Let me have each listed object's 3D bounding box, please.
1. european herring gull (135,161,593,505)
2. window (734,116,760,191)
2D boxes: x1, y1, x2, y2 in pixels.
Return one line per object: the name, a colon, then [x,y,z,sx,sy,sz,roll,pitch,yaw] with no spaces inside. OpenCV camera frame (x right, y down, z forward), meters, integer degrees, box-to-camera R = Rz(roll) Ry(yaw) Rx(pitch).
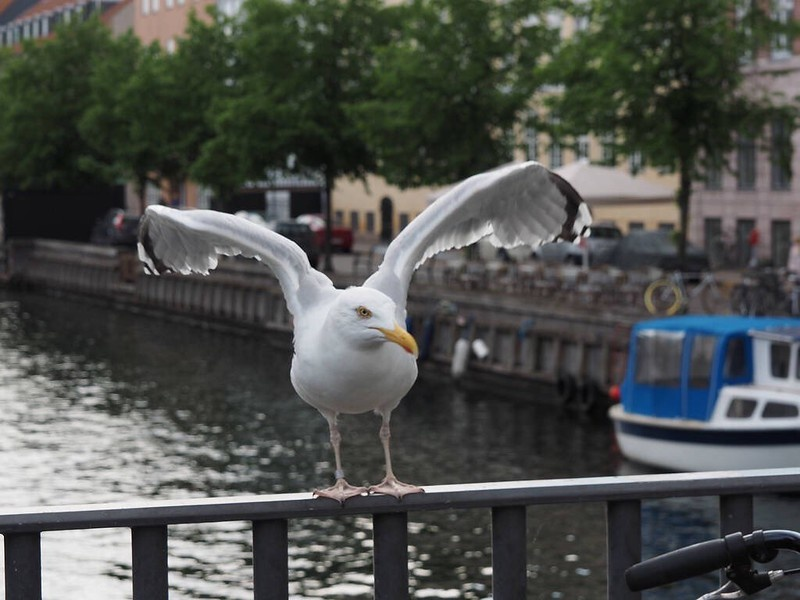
european herring gull: [-0.359,0.203,22.279,4.492,3.263,1.718,2,0,-3]
window: [5.382,-2.182,33.990,0.322,0.954,0.097,4,7,41]
